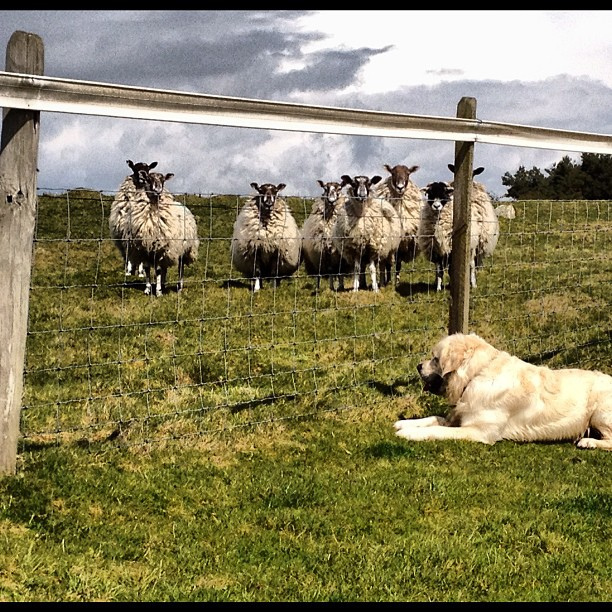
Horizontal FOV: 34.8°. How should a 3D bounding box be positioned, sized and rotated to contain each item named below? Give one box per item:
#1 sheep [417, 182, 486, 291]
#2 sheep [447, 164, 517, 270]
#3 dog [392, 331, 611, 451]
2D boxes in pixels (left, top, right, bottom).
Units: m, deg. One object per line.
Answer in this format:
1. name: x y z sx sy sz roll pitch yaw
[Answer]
1. sheep: 2.861 -1.476 18.565 1.079 2.167 2.554 6 12 32
2. sheep: 3.159 -1.610 18.923 0.911 2.148 3.202 1 8 13
3. dog: 2.099 0.902 10.643 2.564 1.444 1.029 2 -7 3
